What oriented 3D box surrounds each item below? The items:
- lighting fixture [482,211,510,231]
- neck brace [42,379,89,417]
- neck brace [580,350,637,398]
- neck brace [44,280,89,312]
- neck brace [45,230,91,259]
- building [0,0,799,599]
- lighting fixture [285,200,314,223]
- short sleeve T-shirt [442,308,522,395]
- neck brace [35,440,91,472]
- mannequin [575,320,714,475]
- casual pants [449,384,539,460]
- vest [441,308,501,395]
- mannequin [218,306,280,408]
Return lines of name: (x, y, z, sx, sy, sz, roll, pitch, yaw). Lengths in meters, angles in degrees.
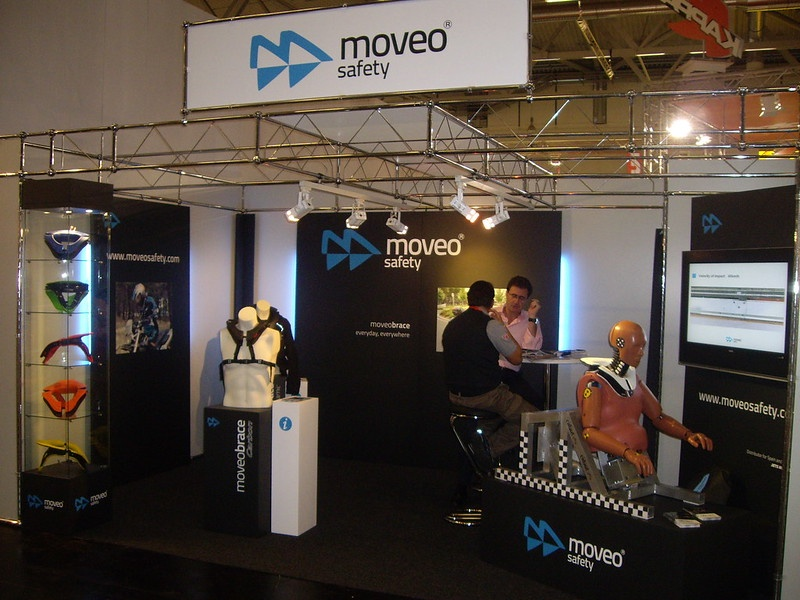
lighting fixture: (1.021, -0.850, 7.003, 0.292, 0.120, 0.175, -11, 3, 31)
neck brace: (-3.051, 0.895, 5.964, 0.321, 0.341, 0.141, -4, -1, -4)
neck brace: (1.591, 0.536, 5.023, 0.326, 0.192, 0.353, 6, 12, -33)
neck brace: (-3.039, -0.043, 5.957, 0.301, 0.276, 0.284, 0, 1, -16)
neck brace: (-3.037, -0.506, 5.944, 0.276, 0.284, 0.120, 0, -14, -6)
building: (-0.292, 0.139, 6.391, 5.667, 3.865, 3.145, 1, -1, 9)
lighting fixture: (-0.978, -0.842, 6.332, 0.302, 0.125, 0.179, -23, 0, 27)
short sleeve T-shirt: (0.702, 0.348, 6.424, 0.834, 0.986, 0.696, 4, 9, 44)
neck brace: (-3.092, 1.395, 5.994, 0.308, 0.176, 0.276, 9, 2, 6)
mannequin: (1.770, 0.736, 4.934, 0.824, 1.164, 0.818, -1, 5, -19)
casual pants: (0.910, 1.175, 6.268, 0.683, 0.780, 0.654, -2, 17, 21)
vest: (0.671, 0.457, 6.306, 0.583, 0.825, 0.455, 4, 25, 12)
mannequin: (-1.411, 0.520, 6.083, 0.549, 0.916, 0.330, 0, 3, -6)
